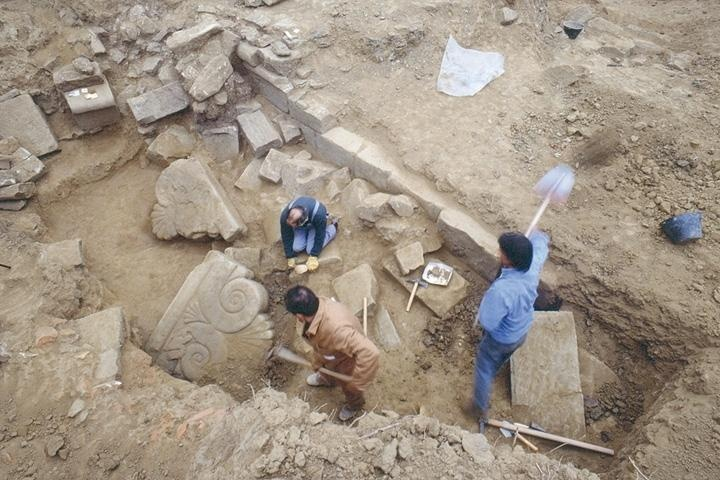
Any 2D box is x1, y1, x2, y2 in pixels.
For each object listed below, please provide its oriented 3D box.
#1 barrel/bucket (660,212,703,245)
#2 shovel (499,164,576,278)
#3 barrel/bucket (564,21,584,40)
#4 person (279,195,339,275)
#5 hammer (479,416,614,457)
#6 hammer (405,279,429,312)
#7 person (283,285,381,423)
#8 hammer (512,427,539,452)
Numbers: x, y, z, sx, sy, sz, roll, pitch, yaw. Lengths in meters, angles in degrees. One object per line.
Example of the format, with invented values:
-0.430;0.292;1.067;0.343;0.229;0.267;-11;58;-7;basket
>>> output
4.308;-0.152;8.646;0.408;0.431;0.281;-4;56;-21;barrel/bucket
2.310;0.001;9.158;0.612;2.223;0.303;30;21;6;shovel
3.690;-3.678;11.312;0.336;0.144;0.346;-1;55;2;barrel/bucket
-0.714;-0.125;9.309;0.850;1.033;0.725;-19;55;-11;person
2.458;2.568;8.450;1.667;0.111;0.151;10;56;9;hammer
0.765;0.782;9.199;0.284;0.049;0.446;17;79;21;hammer
-0.279;1.399;8.308;0.713;1.606;1.196;-30;58;-18;person
2.156;2.611;8.433;0.083;0.089;0.344;-47;68;3;hammer
